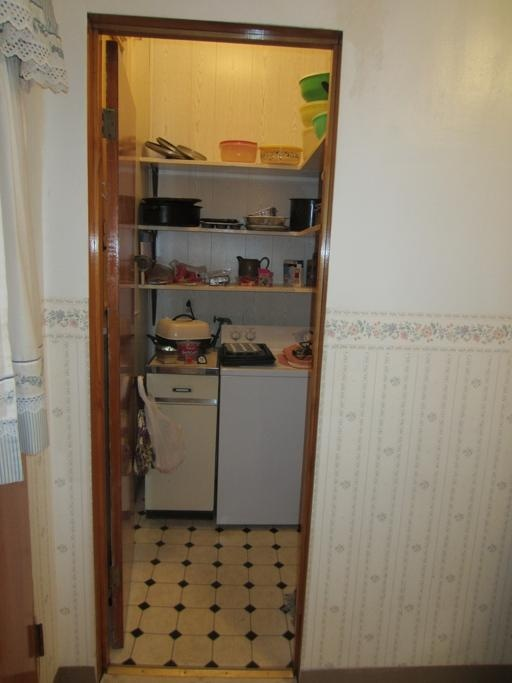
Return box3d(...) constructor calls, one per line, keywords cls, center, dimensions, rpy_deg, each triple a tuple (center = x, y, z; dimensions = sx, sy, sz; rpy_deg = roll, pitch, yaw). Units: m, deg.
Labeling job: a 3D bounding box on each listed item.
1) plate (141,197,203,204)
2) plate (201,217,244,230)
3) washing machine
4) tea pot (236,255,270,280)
box3d(cls="plate", center=(-0.427, -0.688, 2.940), dimensions=(0.289, 0.033, 0.117), rpy_deg=(6, 12, 16))
box3d(cls="plate", center=(-0.169, -0.600, 3.063), dimensions=(0.219, 0.049, 0.101), rpy_deg=(2, 12, -4))
box3d(cls="washing machine", center=(0.061, 0.345, 3.071), dimensions=(0.499, 0.937, 0.479), rpy_deg=(2, 22, -4))
box3d(cls="tea pot", center=(-0.016, -0.393, 3.256), dimensions=(0.182, 0.136, 0.130), rpy_deg=(3, 12, -3))
